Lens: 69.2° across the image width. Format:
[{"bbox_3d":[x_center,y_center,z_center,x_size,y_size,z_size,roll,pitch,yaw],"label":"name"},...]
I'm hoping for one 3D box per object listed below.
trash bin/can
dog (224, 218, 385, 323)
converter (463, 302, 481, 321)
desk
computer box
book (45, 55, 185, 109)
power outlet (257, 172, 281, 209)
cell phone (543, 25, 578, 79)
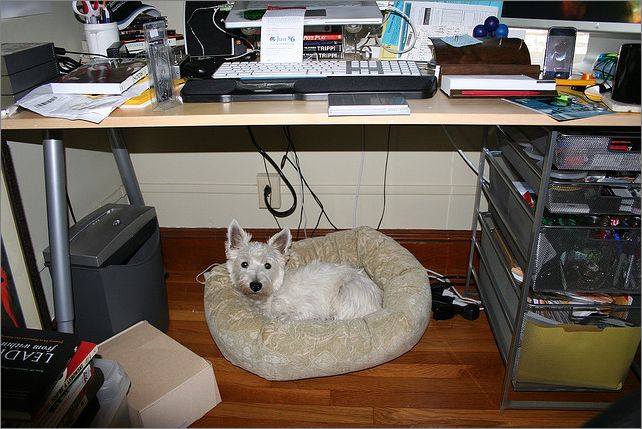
[{"bbox_3d":[-1.054,0.306,2.242,0.382,0.654,0.419,9,28,10],"label":"trash bin/can"},{"bbox_3d":[-0.071,0.278,2.486,0.850,0.447,0.648,-4,40,-19],"label":"dog"},{"bbox_3d":[0.836,0.541,2.612,0.144,0.096,0.076,-3,-1,-12],"label":"converter"},{"bbox_3d":[-0.007,-0.198,2.414,2.523,0.994,1.106,-4,29,-1],"label":"desk"},{"bbox_3d":[-1.055,0.301,2.247,0.393,0.672,0.429,9,28,10],"label":"computer box"},{"bbox_3d":[-0.904,-0.580,2.042,0.394,0.076,0.347,3,29,5],"label":"book"},{"bbox_3d":[-0.314,-0.138,2.930,0.149,0.208,0.053,1,11,19],"label":"power outlet"},{"bbox_3d":[1.064,-0.706,2.055,0.120,0.210,0.153,6,30,18],"label":"cell phone"}]
